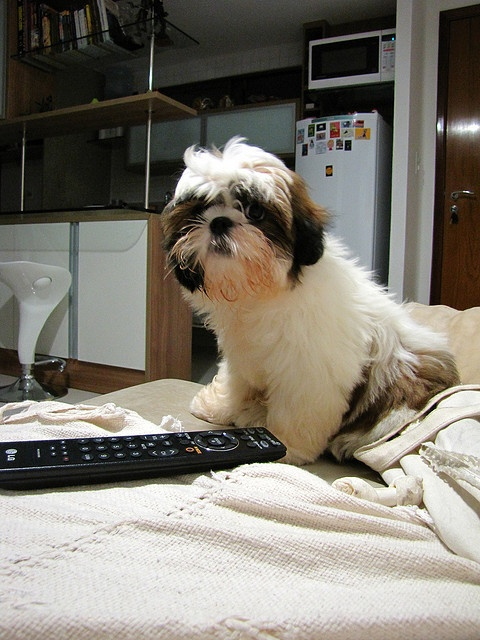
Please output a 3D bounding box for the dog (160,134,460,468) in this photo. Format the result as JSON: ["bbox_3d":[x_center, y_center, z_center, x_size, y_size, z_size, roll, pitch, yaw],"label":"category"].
[{"bbox_3d":[0.100,-0.009,0.803,0.450,0.407,0.273,-4,14,-23],"label":"dog"}]
